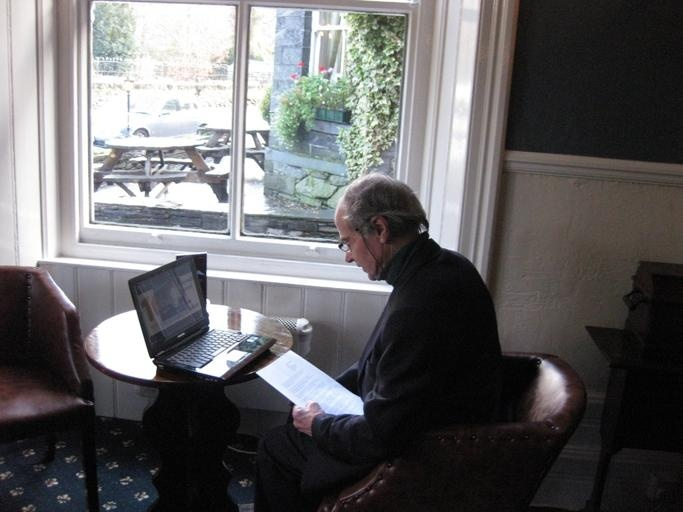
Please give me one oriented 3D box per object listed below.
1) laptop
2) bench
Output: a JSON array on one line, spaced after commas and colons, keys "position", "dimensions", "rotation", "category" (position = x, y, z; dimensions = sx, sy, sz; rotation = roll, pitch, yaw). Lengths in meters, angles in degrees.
[{"position": [-0.570, 0.253, 2.162], "dimensions": [0.351, 0.474, 0.445], "rotation": [-13, 7, 32], "category": "laptop"}, {"position": [-0.860, -0.450, 2.989], "dimensions": [0.497, 0.239, 0.435], "rotation": [3, 25, 5], "category": "bench"}]
